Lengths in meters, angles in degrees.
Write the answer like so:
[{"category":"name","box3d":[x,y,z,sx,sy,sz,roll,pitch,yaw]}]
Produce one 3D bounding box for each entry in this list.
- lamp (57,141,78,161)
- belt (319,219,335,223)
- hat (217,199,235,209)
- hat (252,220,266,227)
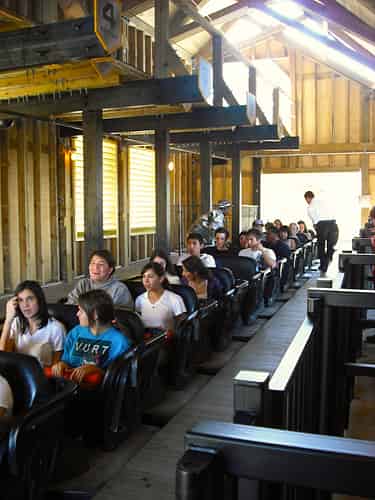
[{"category":"lamp","box3d":[-2.156,-1.843,8.116,0.172,0.387,0.357,6,8,43]},{"category":"belt","box3d":[2.514,-0.539,8.034,0.274,0.057,0.089,1,6,1]},{"category":"hat","box3d":[0.696,-0.878,8.282,0.286,0.145,0.192,-7,10,-38]},{"category":"hat","box3d":[1.237,-0.488,7.950,0.159,0.116,0.225,-4,-6,-42]}]
